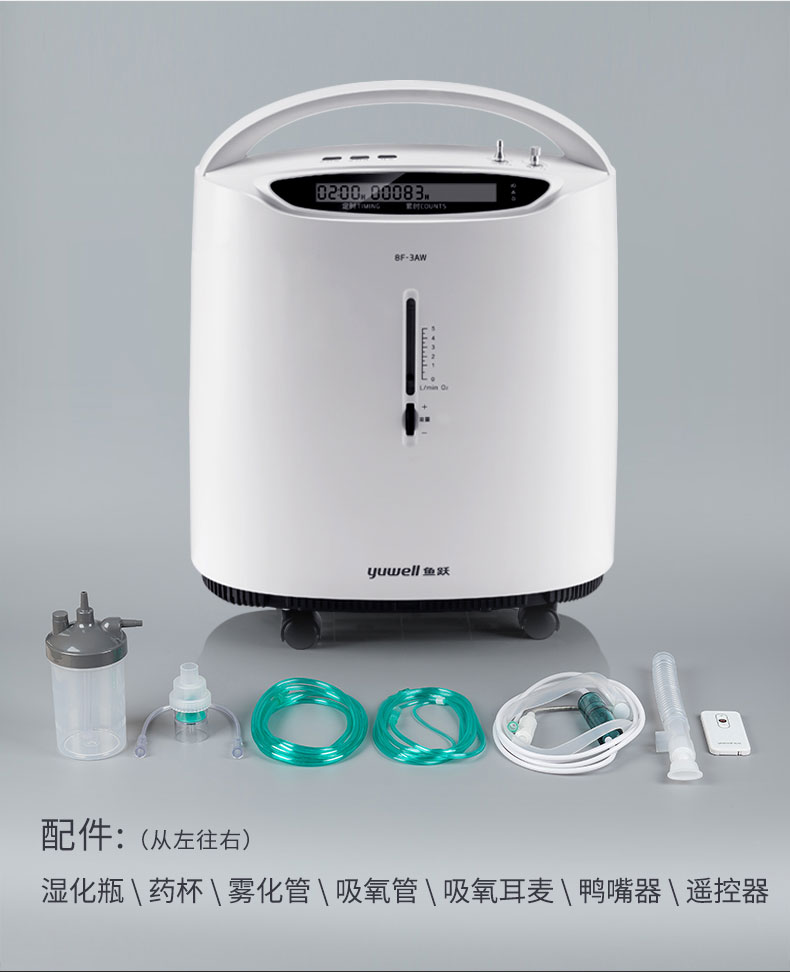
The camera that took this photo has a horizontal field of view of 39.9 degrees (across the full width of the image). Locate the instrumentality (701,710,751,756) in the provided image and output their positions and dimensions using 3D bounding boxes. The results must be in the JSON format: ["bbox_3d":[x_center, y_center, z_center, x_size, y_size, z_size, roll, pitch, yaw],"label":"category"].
[{"bbox_3d":[0.390,0.293,1.289,0.051,0.040,0.086,-3,-3,13],"label":"instrumentality"}]

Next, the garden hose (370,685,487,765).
[{"bbox_3d":[0.040,0.285,1.280,0.122,0.022,0.140,1,23,-3],"label":"garden hose"}]

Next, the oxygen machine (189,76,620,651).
[{"bbox_3d":[0.013,-0.119,1.412,0.540,0.567,0.229,-2,-3,-8],"label":"oxygen machine"}]

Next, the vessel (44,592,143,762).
[{"bbox_3d":[-0.349,0.212,1.266,0.115,0.168,0.088,-3,14,-22],"label":"vessel"}]
